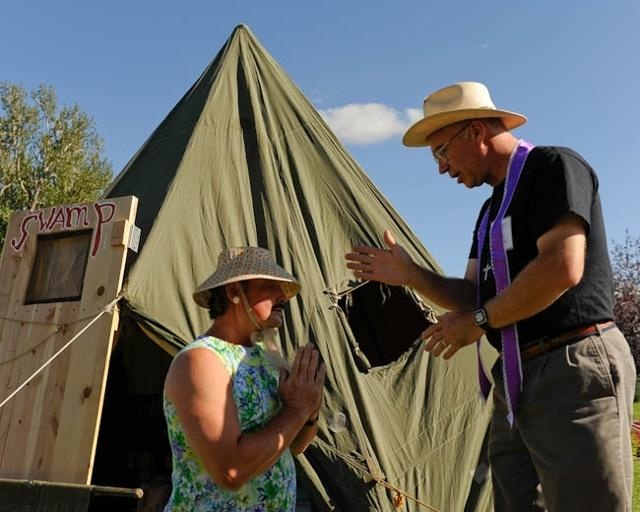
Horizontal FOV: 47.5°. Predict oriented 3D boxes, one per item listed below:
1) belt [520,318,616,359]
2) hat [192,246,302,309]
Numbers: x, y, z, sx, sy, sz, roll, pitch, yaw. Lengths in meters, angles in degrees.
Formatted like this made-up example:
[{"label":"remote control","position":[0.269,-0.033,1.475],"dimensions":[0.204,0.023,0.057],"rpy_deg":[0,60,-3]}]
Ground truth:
[{"label":"belt","position":[1.310,0.423,3.819],"dimensions":[0.490,0.174,0.104],"rpy_deg":[-6,-22,16]},{"label":"hat","position":[-0.437,0.098,4.033],"dimensions":[0.583,0.309,0.648],"rpy_deg":[-4,-13,-5]}]
